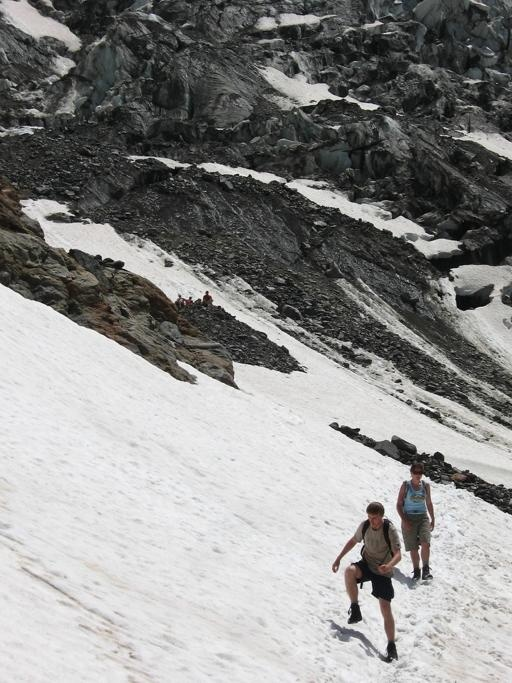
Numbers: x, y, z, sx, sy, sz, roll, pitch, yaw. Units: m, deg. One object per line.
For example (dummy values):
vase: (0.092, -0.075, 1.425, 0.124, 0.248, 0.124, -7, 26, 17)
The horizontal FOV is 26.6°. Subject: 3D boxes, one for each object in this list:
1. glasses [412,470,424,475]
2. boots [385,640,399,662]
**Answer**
glasses: (3.549, 2.897, 24.011, 0.250, 0.077, 0.240, 2, -3, 13)
boots: (2.731, 6.318, 22.038, 0.219, 0.287, 0.445, -3, -32, 4)
